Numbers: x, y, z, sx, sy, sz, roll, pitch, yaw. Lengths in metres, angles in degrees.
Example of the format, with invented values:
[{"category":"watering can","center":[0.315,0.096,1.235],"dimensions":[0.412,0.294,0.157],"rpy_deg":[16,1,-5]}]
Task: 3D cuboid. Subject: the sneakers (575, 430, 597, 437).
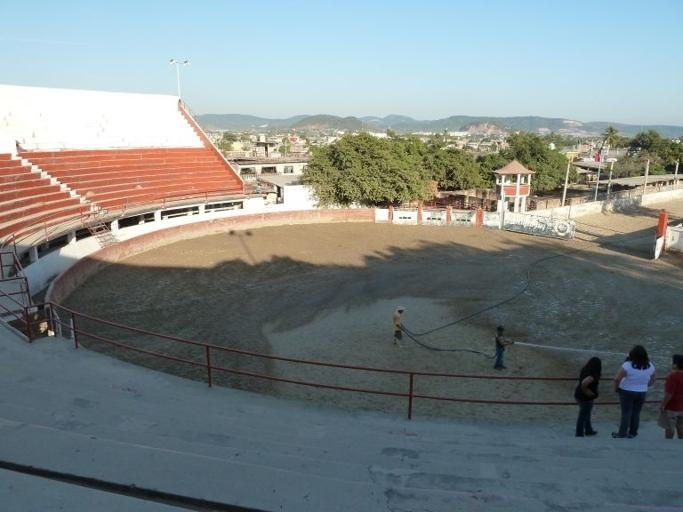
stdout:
[{"category":"sneakers","center":[5.304,3.885,11.471],"dimensions":[0.477,0.131,0.129],"rpy_deg":[0,-5,2]}]
